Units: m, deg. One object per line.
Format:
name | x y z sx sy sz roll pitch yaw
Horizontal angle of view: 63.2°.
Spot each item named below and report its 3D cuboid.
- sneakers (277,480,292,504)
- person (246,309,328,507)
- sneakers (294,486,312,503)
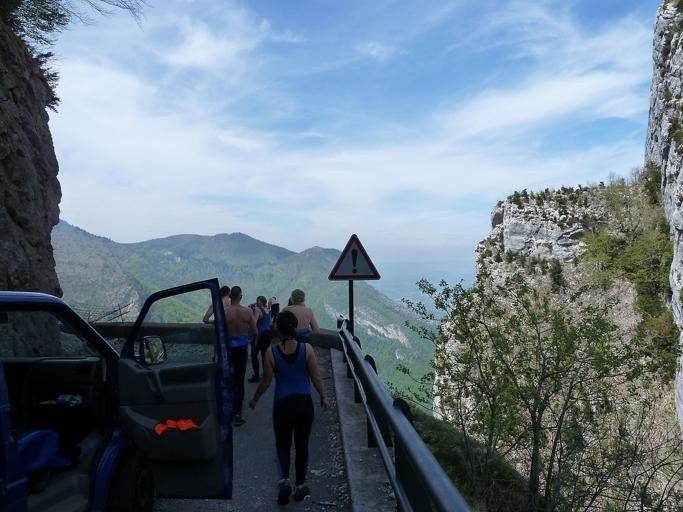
sneakers | -0.770 3.177 7.487 0.146 0.365 0.162 3 7 -15
person | -0.701 2.071 7.811 0.919 2.618 0.574 3 -3 -3
sneakers | -0.539 3.233 7.595 0.145 0.171 0.245 1 -5 9
